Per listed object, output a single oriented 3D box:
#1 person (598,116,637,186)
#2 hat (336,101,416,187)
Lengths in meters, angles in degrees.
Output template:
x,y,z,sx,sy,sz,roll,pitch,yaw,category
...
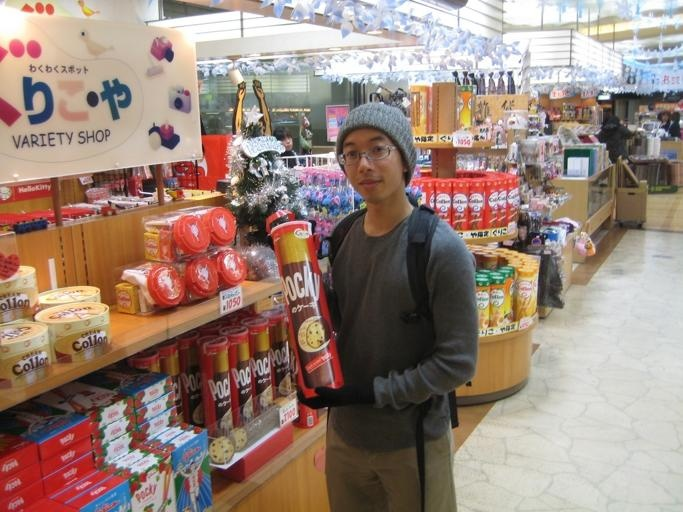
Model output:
x,y,z,sx,sy,sz,roll,pitch,yaw,category
6.343,-2.353,11.171,0.471,1.611,0.666,-16,5,-20,person
0.123,-0.375,1.648,0.198,0.208,0.263,2,-30,19,hat
